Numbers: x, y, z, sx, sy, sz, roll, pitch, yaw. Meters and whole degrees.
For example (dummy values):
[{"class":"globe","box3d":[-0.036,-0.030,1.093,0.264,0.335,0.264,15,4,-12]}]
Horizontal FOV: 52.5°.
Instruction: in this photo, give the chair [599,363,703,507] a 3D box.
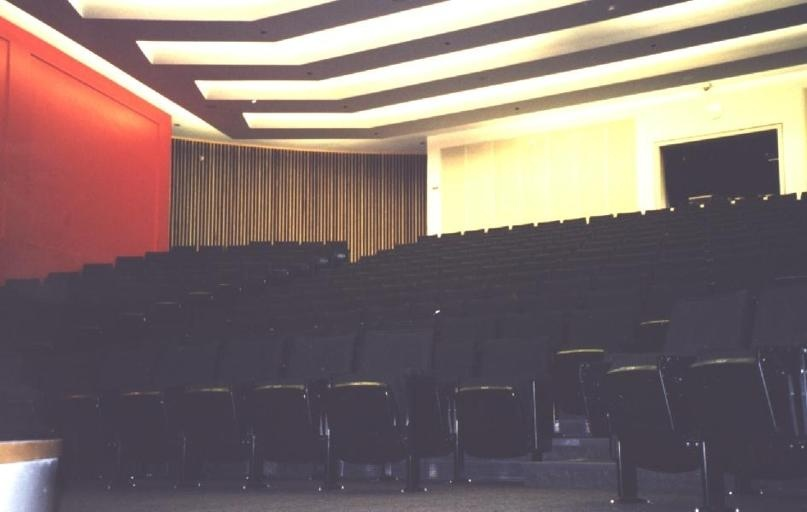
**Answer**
[{"class":"chair","box3d":[1.186,0.857,4.171,0.591,0.714,0.503,-4,-10,19]}]

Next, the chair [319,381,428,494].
[{"class":"chair","box3d":[-0.211,0.923,4.034,0.412,0.524,0.476,3,6,-11]}]
